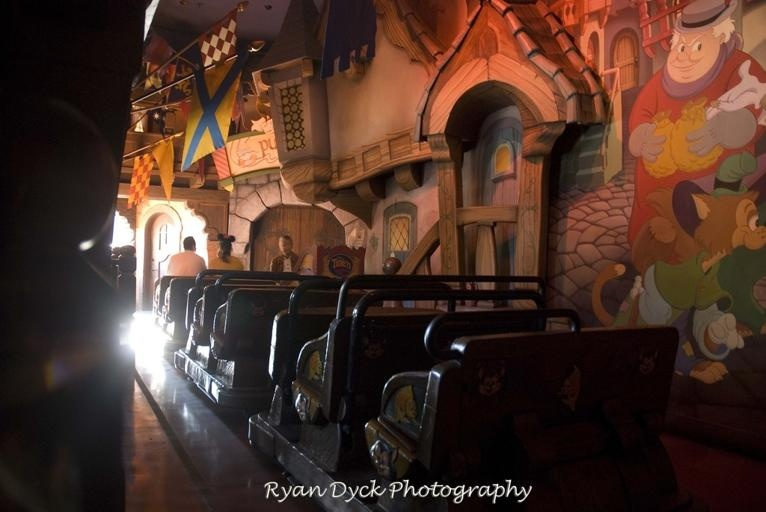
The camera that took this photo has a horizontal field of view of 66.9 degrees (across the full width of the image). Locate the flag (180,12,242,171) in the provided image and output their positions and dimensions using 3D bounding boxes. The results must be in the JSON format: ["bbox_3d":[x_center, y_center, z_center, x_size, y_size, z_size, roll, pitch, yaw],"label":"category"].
[{"bbox_3d":[-2.374,-2.290,8.186,1.131,2.023,0.423,2,3,43],"label":"flag"}]

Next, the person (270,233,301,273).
[{"bbox_3d":[-1.715,-0.069,10.312,0.599,1.000,0.539,0,13,-8],"label":"person"}]
